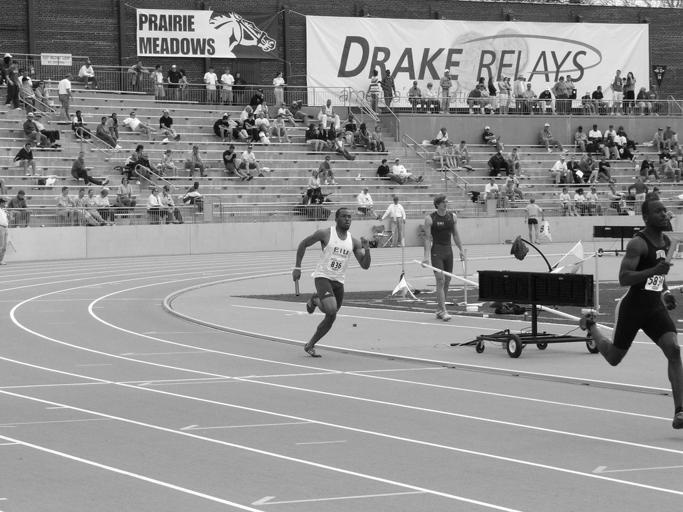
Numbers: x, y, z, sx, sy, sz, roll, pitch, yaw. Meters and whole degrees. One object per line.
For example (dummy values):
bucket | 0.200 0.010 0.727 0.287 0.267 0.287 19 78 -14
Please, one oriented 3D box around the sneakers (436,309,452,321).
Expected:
sneakers | 2.019 1.183 27.622 0.160 0.142 0.326 -2 -5 -12

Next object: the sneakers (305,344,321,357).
sneakers | -0.552 1.660 24.338 0.132 0.166 0.385 -4 2 -41

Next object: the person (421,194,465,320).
person | 2.014 0.023 27.679 0.705 2.502 1.147 2 9 12
